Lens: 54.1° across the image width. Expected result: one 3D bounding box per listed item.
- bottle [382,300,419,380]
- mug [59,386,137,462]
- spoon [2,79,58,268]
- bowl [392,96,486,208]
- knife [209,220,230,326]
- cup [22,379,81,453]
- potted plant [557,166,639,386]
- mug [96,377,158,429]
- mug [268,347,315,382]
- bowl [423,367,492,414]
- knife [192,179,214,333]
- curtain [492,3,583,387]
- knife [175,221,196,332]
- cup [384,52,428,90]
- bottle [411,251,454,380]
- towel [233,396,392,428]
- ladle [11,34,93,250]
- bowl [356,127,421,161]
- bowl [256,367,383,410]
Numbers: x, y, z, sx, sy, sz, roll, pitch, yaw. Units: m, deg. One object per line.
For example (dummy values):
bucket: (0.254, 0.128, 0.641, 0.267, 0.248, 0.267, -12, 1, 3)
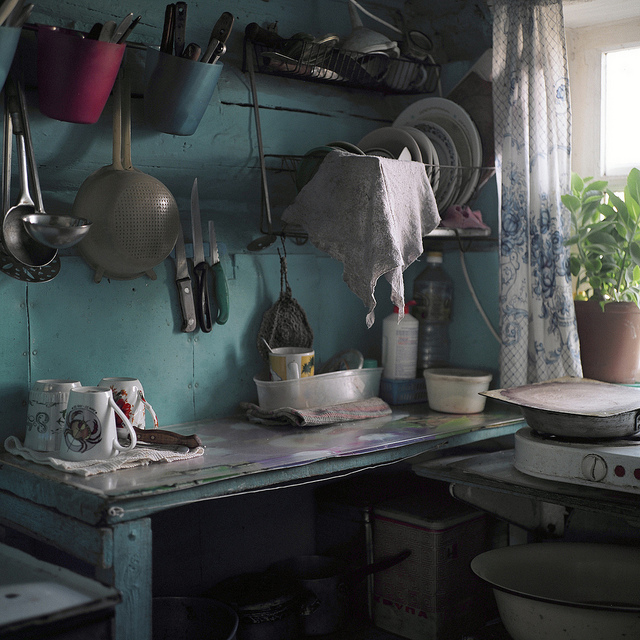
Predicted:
bottle: (0.243, 0.065, 1.991, 0.130, 0.247, 0.097, 1, -3, -14)
mug: (-0.410, 0.209, 1.221, 0.164, 0.138, 0.103, 14, 13, 21)
spoon: (-0.589, -0.293, 1.270, 0.049, 0.325, 0.094, -3, 3, 28)
bowl: (0.394, -0.513, 1.948, 0.231, 0.388, 0.237, -2, -2, 0)
knife: (-0.276, -0.144, 1.698, 0.047, 0.372, 0.067, -8, -18, 5)
cup: (-0.544, 0.197, 1.263, 0.123, 0.135, 0.144, 3, -1, -9)
potted plant: (0.835, -0.116, 1.882, 0.225, 0.441, 0.321, -3, -2, 21)
mug: (-0.407, 0.185, 1.366, 0.143, 0.133, 0.085, 3, -3, 5)
mug: (-0.079, 0.123, 1.738, 0.123, 0.090, 0.155, -2, -2, -4)
bowl: (0.392, 0.205, 1.833, 0.148, 0.083, 0.142, 1, -6, 0)
knife: (-0.311, -0.157, 1.651, 0.040, 0.383, 0.091, -2, -2, -11)
curtain: (0.614, -0.365, 1.822, 0.231, 1.104, 0.138, -3, -2, 14)
knife: (-0.355, -0.089, 1.612, 0.057, 0.230, 0.042, 10, 12, 39)
cup: (0.277, -0.795, 2.028, 0.113, 0.102, 0.109, 10, 27, -5)
bottle: (0.347, -0.012, 2.091, 0.154, 0.408, 0.132, 0, -2, -21)
towel: (0.012, 0.249, 1.705, 0.400, 0.059, 0.208, -1, -2, -27)
ladle: (-0.552, -0.366, 1.286, 0.134, 0.463, 0.289, -1, -2, -25)
bowl: (0.194, -0.483, 1.764, 0.172, 0.125, 0.144, -2, -2, 5)
bowl: (0.000, 0.172, 1.743, 0.274, 0.059, 0.128, -4, -2, -31)
